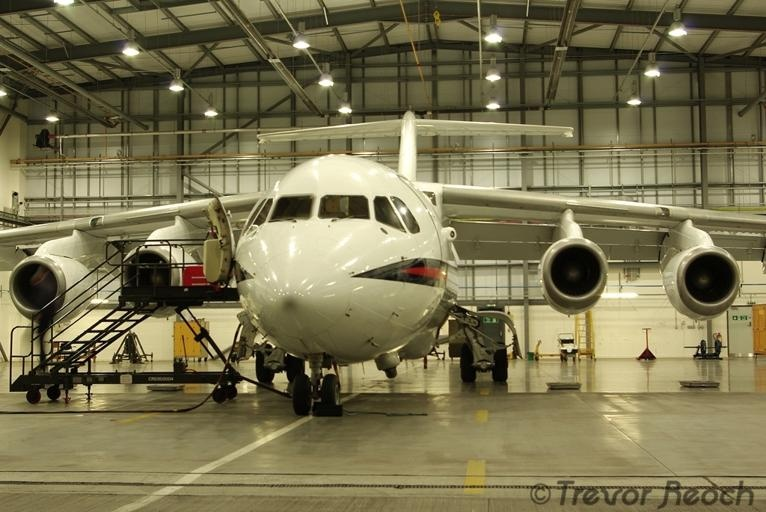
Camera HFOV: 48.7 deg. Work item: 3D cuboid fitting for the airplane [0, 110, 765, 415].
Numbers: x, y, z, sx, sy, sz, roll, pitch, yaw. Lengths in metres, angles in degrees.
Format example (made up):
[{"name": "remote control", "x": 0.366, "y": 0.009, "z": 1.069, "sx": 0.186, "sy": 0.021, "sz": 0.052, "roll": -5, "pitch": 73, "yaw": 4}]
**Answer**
[{"name": "airplane", "x": 0.225, "y": 0.041, "z": 22.160, "sx": 13.169, "sy": 4.206, "sz": 11.782, "roll": -1, "pitch": 0, "yaw": 13}]
